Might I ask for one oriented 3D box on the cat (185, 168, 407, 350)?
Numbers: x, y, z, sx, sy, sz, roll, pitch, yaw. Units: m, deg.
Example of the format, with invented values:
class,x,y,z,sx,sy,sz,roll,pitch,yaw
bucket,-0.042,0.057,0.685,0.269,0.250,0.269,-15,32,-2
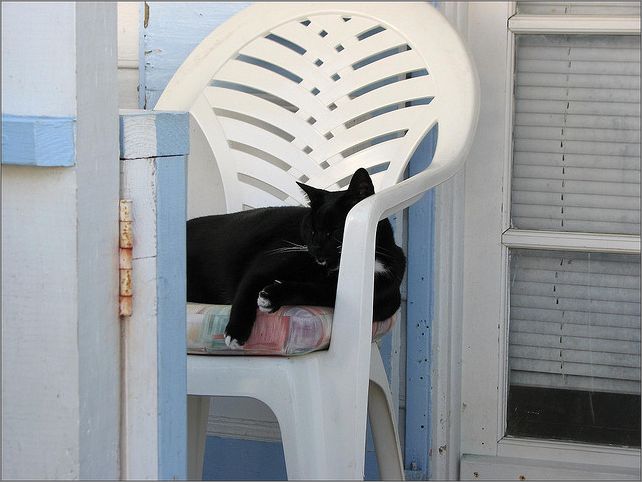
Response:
class,x,y,z,sx,sy,sz,roll,pitch,yaw
cat,-0.137,0.038,2.108,0.507,0.243,0.283,7,-18,34
